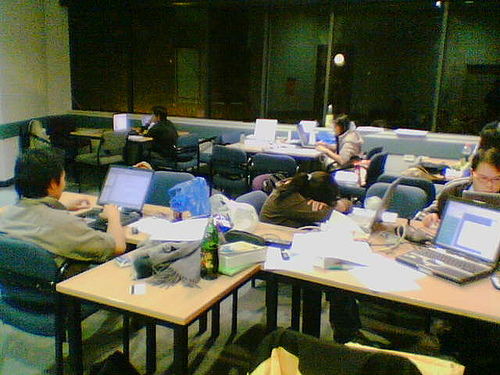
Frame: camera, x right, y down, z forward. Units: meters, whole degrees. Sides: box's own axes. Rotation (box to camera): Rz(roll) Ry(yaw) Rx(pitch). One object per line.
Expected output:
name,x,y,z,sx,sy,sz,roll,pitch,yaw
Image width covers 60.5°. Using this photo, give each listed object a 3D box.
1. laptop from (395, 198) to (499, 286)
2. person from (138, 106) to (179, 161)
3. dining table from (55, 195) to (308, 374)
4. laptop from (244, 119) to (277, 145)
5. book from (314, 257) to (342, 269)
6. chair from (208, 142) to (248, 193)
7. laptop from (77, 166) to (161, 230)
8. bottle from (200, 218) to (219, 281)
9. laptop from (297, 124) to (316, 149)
laptop,1.189,0.309,2.532,0.317,0.409,0.451,-12,20,-40
person,-1.439,-0.835,6.701,0.530,0.824,1.042,-5,16,-21
dining table,-0.446,0.596,2.662,0.601,0.545,1.179,10,14,26
laptop,0.203,-0.862,6.593,0.363,0.294,0.489,10,39,14
book,0.473,0.459,2.588,0.099,0.041,0.095,-1,6,-29
chair,-0.284,-0.266,5.961,0.509,0.803,0.531,12,28,19
laptop,-0.971,0.034,3.274,0.500,0.298,0.508,12,21,22
bottle,-0.228,0.342,2.445,0.105,0.323,0.199,0,16,-4
laptop,0.796,-0.766,6.432,0.284,0.296,0.376,-3,0,21
